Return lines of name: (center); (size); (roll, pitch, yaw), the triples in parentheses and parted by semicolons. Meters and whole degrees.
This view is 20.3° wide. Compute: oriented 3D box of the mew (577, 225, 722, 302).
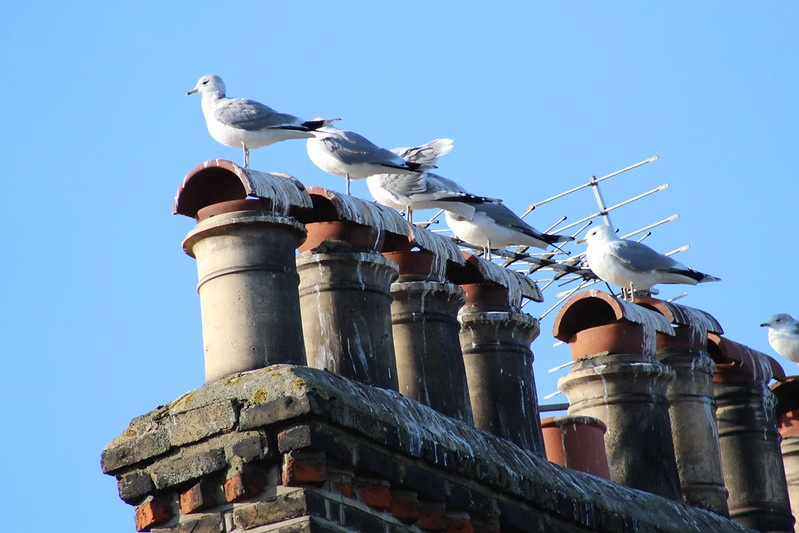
mew: (2.468, -0.008, 22.008); (1.443, 0.811, 0.483); (0, -11, -10)

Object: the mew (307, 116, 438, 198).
mew: (-0.338, -1.006, 20.074); (1.183, 0.652, 0.423); (1, -10, 13)
